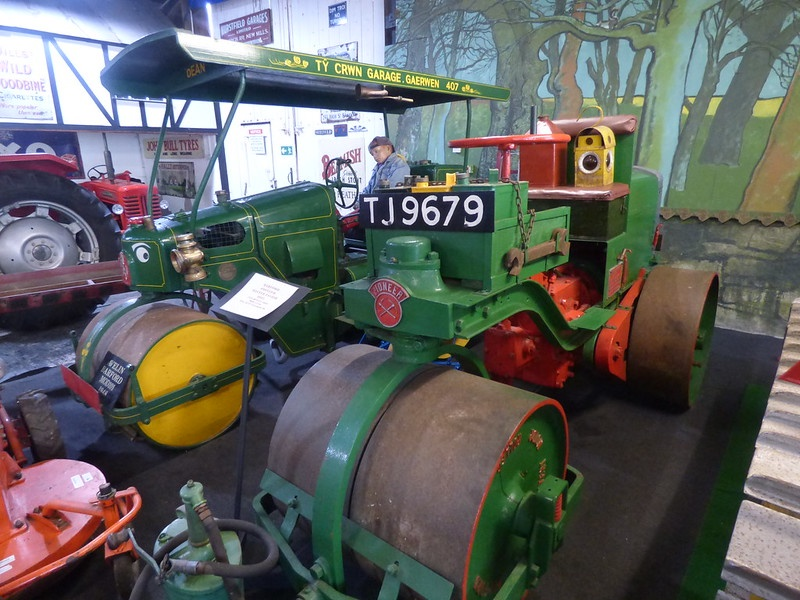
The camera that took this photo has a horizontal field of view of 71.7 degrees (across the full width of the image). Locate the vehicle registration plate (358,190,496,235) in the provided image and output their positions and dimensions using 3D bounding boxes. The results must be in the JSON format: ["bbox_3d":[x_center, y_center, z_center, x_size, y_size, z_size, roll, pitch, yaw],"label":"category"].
[{"bbox_3d":[0.111,-0.486,3.142,0.790,0.275,0.124,1,-8,7],"label":"vehicle registration plate"}]

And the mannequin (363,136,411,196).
[{"bbox_3d":[-0.169,-1.478,6.320,0.425,0.748,0.756,1,3,-30],"label":"mannequin"}]

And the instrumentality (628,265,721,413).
[{"bbox_3d":[2.130,0.312,4.363,0.516,1.087,0.965,9,13,36],"label":"instrumentality"}]

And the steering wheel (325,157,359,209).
[{"bbox_3d":[-0.717,-1.466,7.145,0.223,0.559,0.535,10,5,-13],"label":"steering wheel"}]

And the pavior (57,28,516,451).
[{"bbox_3d":[-1.039,-0.628,5.179,1.915,3.053,3.777,14,20,43],"label":"pavior"}]

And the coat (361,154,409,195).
[{"bbox_3d":[-0.157,-1.411,6.309,0.284,0.464,0.539,-7,14,-36],"label":"coat"}]

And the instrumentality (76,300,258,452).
[{"bbox_3d":[-1.899,0.517,4.509,1.165,1.134,1.132,17,27,41],"label":"instrumentality"}]
